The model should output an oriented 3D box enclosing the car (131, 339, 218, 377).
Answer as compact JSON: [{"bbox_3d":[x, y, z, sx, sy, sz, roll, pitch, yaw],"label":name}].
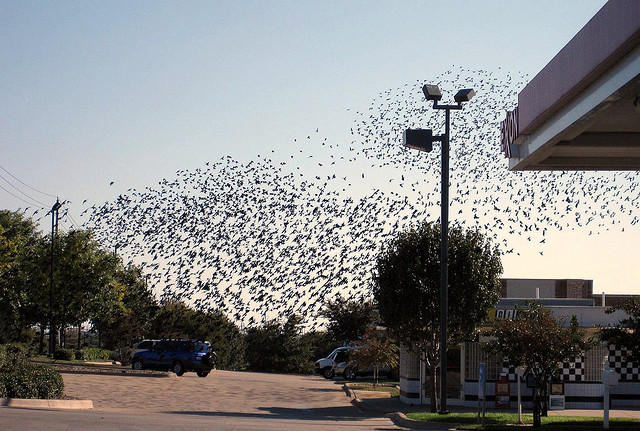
[{"bbox_3d":[-8.964,8.666,59.712,4.427,1.793,2.200,4,-4,15],"label":"car"}]

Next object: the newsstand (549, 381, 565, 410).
[{"bbox_3d":[11.967,9.072,48.431,0.843,1.531,0.851,-3,-24,25],"label":"newsstand"}]

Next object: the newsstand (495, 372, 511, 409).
[{"bbox_3d":[9.113,8.646,48.276,0.716,1.856,0.797,1,-17,10],"label":"newsstand"}]

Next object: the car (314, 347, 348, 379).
[{"bbox_3d":[0.425,10.314,67.707,2.013,2.276,3.973,-10,-16,37],"label":"car"}]
